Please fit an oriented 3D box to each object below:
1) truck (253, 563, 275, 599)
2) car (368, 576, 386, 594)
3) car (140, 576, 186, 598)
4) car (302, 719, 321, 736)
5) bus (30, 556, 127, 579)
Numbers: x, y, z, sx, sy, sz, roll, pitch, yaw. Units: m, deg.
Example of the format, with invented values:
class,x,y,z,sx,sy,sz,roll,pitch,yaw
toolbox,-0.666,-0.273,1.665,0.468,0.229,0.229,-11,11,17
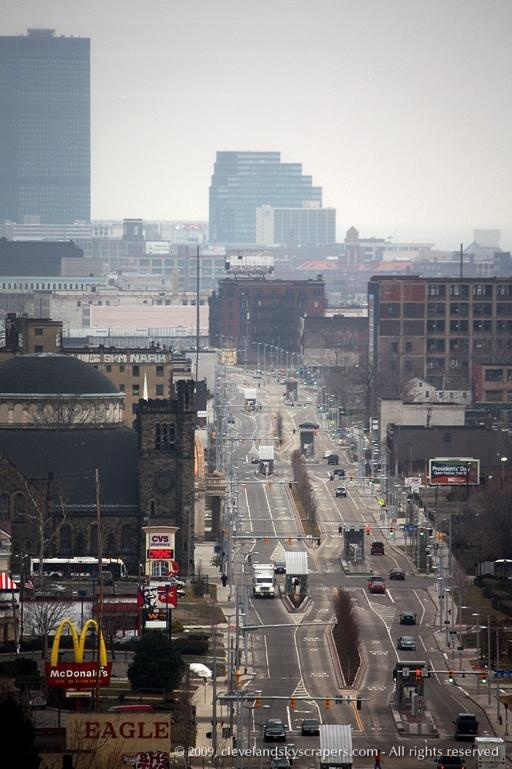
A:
class,x,y,z,sx,sy,sz,roll,pitch,yaw
truck,0.519,11.605,109.133,0.993,1.962,3.139,0,-2,-1
car,7.246,11.957,110.279,0.979,0.760,2.018,0,1,4
car,-5.214,11.915,107.303,2.289,1.619,1.688,-3,2,5
car,2.253,13.749,74.234,0.698,0.852,1.756,0,-6,-3
bus,-10.215,10.701,107.016,5.395,1.374,4.828,-1,1,-10
